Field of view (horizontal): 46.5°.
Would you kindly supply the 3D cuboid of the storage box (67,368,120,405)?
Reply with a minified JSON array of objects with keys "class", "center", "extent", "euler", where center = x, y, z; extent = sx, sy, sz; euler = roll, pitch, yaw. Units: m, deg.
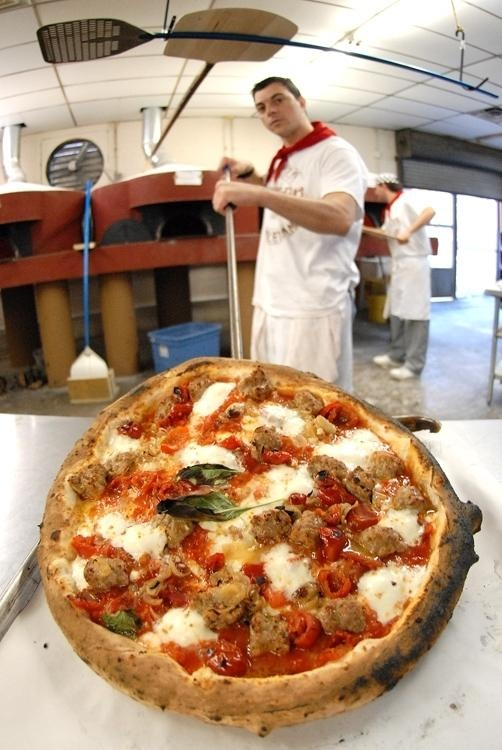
[{"class":"storage box","center":[-0.884,0.065,3.208],"extent":[0.214,0.124,0.209],"euler":[-3,4,-12]}]

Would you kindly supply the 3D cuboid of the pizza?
[{"class":"pizza","center":[-0.026,0.203,0.747],"extent":[0.472,0.079,0.440],"euler":[9,40,17]}]

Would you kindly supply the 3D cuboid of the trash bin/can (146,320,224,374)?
[{"class":"trash bin/can","center":[-0.367,-0.176,3.527],"extent":[0.356,0.292,0.470],"euler":[4,10,40]}]
